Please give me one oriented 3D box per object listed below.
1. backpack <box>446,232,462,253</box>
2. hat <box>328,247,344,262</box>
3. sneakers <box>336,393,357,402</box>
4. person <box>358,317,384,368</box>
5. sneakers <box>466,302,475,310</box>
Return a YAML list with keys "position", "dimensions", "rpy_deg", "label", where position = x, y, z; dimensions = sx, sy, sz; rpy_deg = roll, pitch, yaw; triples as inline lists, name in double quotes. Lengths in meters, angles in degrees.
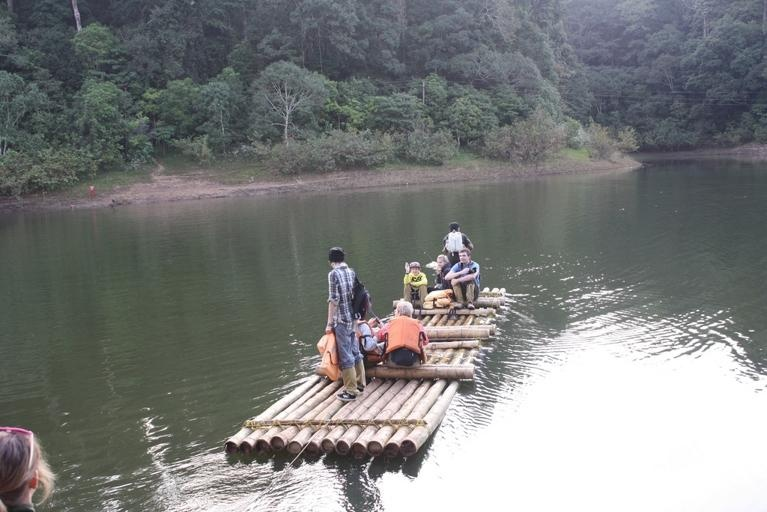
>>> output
- position: [2.602, -0.479, 23.714]
  dimensions: [0.785, 0.900, 0.485]
  rpy_deg: [1, -3, 5]
  label: "backpack"
- position: [-1.325, -0.036, 17.951]
  dimensions: [0.348, 0.434, 0.447]
  rpy_deg: [1, 10, 2]
  label: "hat"
- position: [-1.020, 3.917, 18.018]
  dimensions: [0.506, 0.233, 0.220]
  rpy_deg: [5, 2, 5]
  label: "sneakers"
- position: [-0.384, 2.517, 18.948]
  dimensions: [0.537, 1.229, 0.983]
  rpy_deg: [-6, -7, 11]
  label: "person"
- position: [3.053, 1.757, 22.663]
  dimensions: [0.178, 0.198, 0.481]
  rpy_deg: [-2, -9, 5]
  label: "sneakers"
